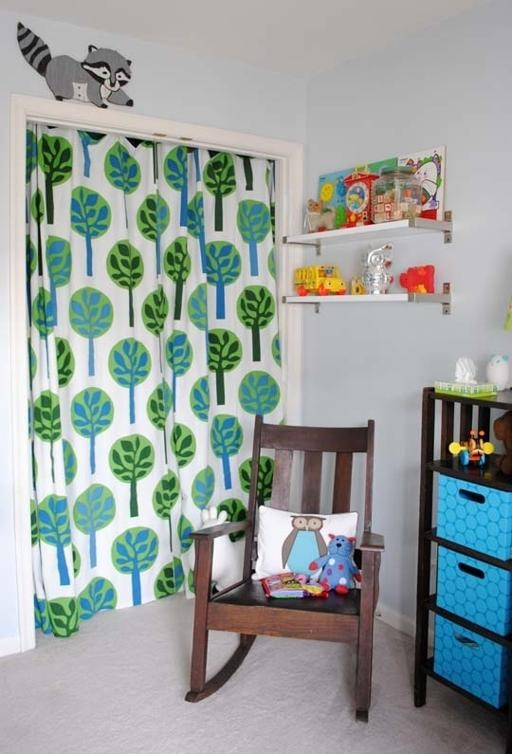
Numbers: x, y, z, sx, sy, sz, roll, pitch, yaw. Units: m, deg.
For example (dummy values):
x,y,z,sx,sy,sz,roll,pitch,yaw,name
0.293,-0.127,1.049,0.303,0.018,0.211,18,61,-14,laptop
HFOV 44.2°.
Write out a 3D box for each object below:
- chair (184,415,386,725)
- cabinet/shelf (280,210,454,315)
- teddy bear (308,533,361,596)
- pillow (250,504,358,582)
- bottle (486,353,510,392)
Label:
x,y,z,sx,sy,sz,roll,pitch,yaw,name
0.108,0.608,2.217,0.653,0.885,0.626,0,4,11,chair
0.406,-0.431,2.547,0.197,0.384,0.730,-6,9,-34,cabinet/shelf
0.269,0.639,2.156,0.190,0.202,0.130,6,-17,3,teddy bear
0.175,0.609,2.277,0.351,0.273,0.129,2,-4,11,pillow
0.720,-0.017,1.915,0.090,0.097,0.070,6,-16,-19,bottle
